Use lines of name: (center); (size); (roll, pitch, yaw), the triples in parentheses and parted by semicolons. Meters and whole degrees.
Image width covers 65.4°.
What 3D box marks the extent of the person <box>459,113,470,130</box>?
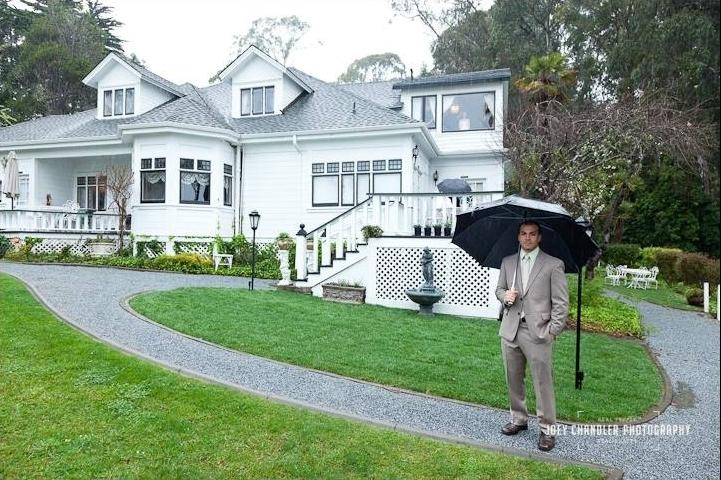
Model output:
person: (4.888, -5.570, 26.444); (0.537, 0.801, 0.175); (6, 7, 20)

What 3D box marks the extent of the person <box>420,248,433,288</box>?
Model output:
person: (2.103, 0.863, 17.519); (0.441, 1.270, 0.406); (4, 7, 6)

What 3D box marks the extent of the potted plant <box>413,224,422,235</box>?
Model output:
potted plant: (1.885, -0.308, 18.380); (0.272, 0.339, 0.433); (4, 7, 6)

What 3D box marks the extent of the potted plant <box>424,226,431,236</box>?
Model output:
potted plant: (2.199, -0.296, 18.326); (0.246, 0.390, 0.261); (-1, 0, 27)

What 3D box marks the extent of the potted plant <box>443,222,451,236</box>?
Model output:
potted plant: (2.787, -0.309, 18.047); (0.277, 0.574, 0.295); (-1, -2, 10)

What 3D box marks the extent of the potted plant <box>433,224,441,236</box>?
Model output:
potted plant: (2.491, -0.312, 18.180); (0.268, 0.422, 0.283); (0, -4, -3)

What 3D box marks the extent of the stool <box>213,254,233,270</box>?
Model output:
stool: (-5.684, 0.865, 23.426); (0.651, 0.527, 0.667); (0, 3, -20)

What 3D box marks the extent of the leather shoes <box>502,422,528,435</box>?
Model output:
leather shoes: (3.314, 4.089, 12.172); (0.536, 0.253, 0.237); (4, -1, -6)
